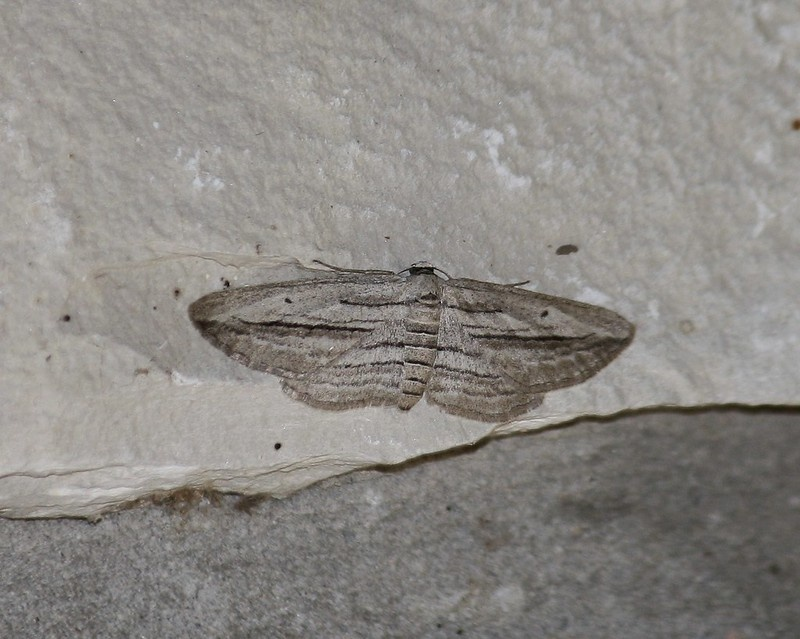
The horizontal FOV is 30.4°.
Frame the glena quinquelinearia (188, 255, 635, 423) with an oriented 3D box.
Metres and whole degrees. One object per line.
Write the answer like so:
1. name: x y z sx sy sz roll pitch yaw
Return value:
1. glena quinquelinearia: 0.059 0.040 6.119 1.896 0.193 0.610 3 93 2
